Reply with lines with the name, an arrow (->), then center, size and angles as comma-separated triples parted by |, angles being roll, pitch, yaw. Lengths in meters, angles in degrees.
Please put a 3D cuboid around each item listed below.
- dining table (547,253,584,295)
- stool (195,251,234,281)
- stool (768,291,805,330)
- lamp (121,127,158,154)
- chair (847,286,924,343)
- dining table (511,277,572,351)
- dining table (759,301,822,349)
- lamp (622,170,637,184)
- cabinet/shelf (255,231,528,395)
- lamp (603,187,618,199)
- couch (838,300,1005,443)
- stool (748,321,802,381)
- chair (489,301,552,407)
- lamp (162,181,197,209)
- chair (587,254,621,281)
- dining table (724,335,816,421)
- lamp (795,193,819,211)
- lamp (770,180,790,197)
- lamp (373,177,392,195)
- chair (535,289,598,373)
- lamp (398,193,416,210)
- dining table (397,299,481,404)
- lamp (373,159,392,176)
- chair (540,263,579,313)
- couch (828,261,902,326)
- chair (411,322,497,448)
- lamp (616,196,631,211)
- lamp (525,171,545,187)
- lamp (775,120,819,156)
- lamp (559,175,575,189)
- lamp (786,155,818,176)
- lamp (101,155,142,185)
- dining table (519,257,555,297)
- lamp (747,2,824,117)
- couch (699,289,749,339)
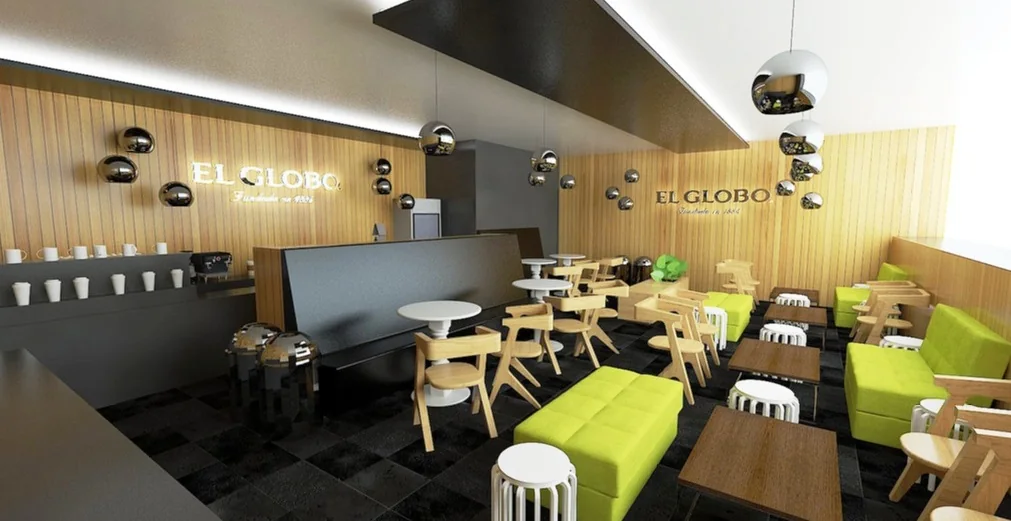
dining table -> 1.345, 0.253, 11.315 | 0.593, 0.559, 0.556 | 3, 0, -10
stool -> -5.311, 0.062, 9.682 | 0.715, 0.408, 0.473 | 8, 11, 42
stool -> 5.880, 1.090, 11.196 | 0.958, 0.760, 0.868 | 2, 5, 25
lamp -> -6.299, -2.050, 9.070 | 0.192, 0.462, 0.598 | 0, -1, 40
chair -> 6.800, 1.139, 9.501 | 1.193, 1.093, 0.961 | 0, 2, -1
dining table -> 0.456, 0.956, 9.824 | 1.257, 1.040, 1.180 | -3, 0, 29
dining table -> 5.226, 1.114, 9.653 | 1.147, 0.439, 1.106 | -14, 18, -41
lamp -> 3.084, -2.137, 13.217 | 0.313, 0.273, 0.344 | 0, 10, 6
cabinet/shelf -> -1.183, 0.769, 10.009 | 2.093, 2.223, 6.076 | 16, 14, 35
lamp -> 2.645, -1.745, 13.611 | 0.377, 0.287, 0.372 | 11, 11, 37
couch -> 5.963, 1.645, 7.809 | 1.935, 1.571, 2.658 | 4, 8, 35
stool -> 4.905, 1.549, 9.441 | 1.047, 0.814, 1.005 | 0, 1, 32
chair -> 0.144, 1.482, 8.415 | 1.197, 1.348, 0.996 | 1, 3, 0
lamp -> -5.886, -1.190, 9.606 | 0.553, 0.456, 0.297 | 4, 20, 5
chair -> 2.595, 0.133, 13.528 | 0.703, 0.776, 0.892 | 10, 12, 39
dining table -> 4.031, 1.684, 8.048 | 1.434, 0.628, 1.345 | -16, 22, -39
lamp -> 6.467, -1.279, 11.371 | 0.544, 0.455, 0.120 | -6, 7, 21
lamp -> 5.939, -1.602, 11.446 | 0.282, 0.298, 0.373 | 0, 10, 4
lamp -> -2.777, -1.732, 12.207 | 0.340, 0.348, 0.429 | 2, -5, -39
chair -> 0.800, 1.009, 9.460 | 1.063, 1.562, 1.338 | -5, 13, -24
lamp -> -2.302, -1.412, 12.471 | 0.383, 0.327, 0.396 | 8, 8, 35
dining table -> -0.900, 1.347, 8.500 | 1.682, 1.448, 1.593 | -2, 3, -36
lamp -> -2.876, -2.177, 12.459 | 0.482, 0.316, 0.451 | 16, 25, 19
chair -> 1.194, 0.479, 11.082 | 0.888, 0.748, 0.747 | -4, 10, -31
couch -> 7.573, 0.686, 11.150 | 1.357, 1.172, 1.403 | -3, 8, 27
chair -> -0.747, 1.736, 7.671 | 1.221, 1.588, 0.858 | -3, 11, -10
lamp -> 3.032, -1.480, 13.574 | 0.419, 0.295, 0.388 | -2, 12, -24
lamp -> 0.645, -1.787, 11.598 | 0.600, 0.344, 0.537 | 3, 4, 3
lamp -> 4.348, -1.845, 7.909 | 0.517, 0.480, 0.335 | 3, 11, 20
lamp -> 1.427, -1.889, 12.484 | 0.319, 0.280, 0.735 | 0, 9, 3
lamp -> 5.032, -1.625, 8.918 | 0.491, 0.347, 0.265 | 0, 11, 5
lamp -> -6.609, -1.575, 9.060 | 0.514, 0.439, 0.276 | -7, 12, -31
dining table -> 0.593, 0.321, 10.225 | 1.108, 0.651, 1.002 | -3, 1, 7
lamp -> 3.329, -2.119, 6.278 | 0.814, 0.710, 0.272 | 1, 11, 13
couch -> 4.388, 1.110, 10.635 | 0.746, 0.343, 1.116 | 0, 6, 35
